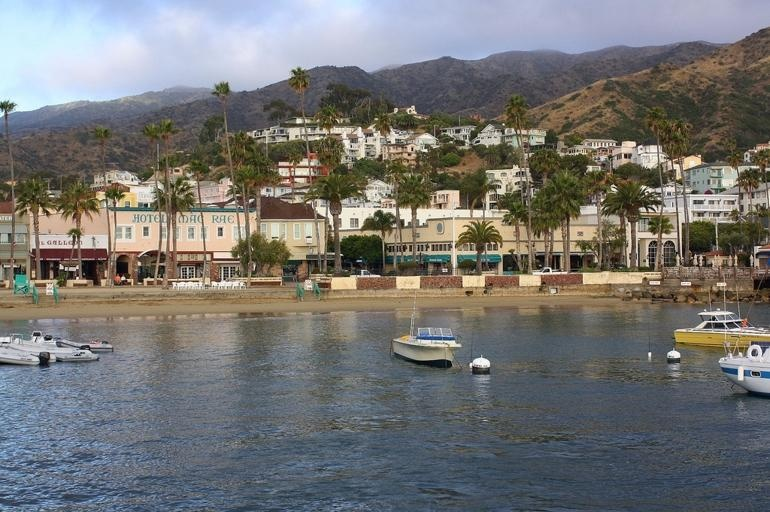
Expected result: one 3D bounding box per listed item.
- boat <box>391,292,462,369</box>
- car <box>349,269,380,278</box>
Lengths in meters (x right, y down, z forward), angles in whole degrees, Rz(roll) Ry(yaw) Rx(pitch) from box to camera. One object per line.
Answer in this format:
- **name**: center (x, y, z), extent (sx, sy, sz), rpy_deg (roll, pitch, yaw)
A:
- **boat**: center (4.425, 9.264, 118.472), extent (8.362, 3.010, 4.289), rpy_deg (12, 16, 41)
- **car**: center (-3.468, 3.122, 185.327), extent (3.617, 1.369, 1.910), rpy_deg (-1, 1, 8)
